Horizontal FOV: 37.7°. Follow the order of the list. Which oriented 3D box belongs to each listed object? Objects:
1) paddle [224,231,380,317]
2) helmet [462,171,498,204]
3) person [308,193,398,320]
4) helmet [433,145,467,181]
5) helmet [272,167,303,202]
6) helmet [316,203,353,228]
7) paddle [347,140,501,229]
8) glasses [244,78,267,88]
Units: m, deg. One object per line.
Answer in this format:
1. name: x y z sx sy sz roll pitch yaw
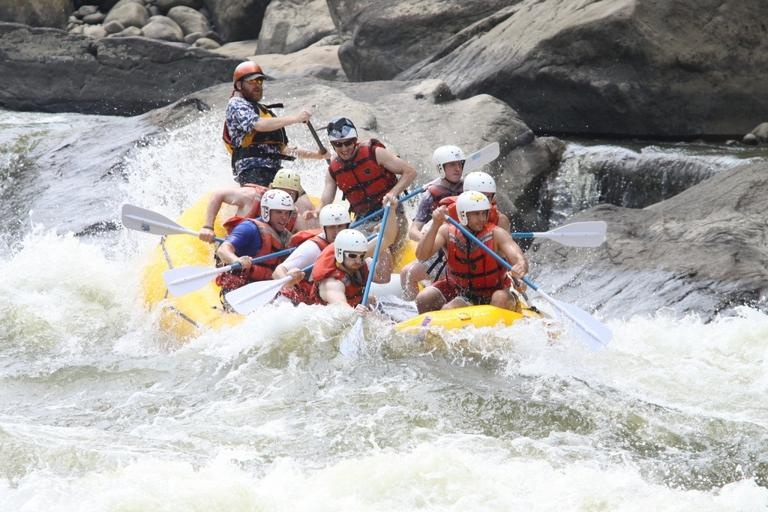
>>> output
1. paddle: -1.000 0.239 13.315 1.986 0.204 0.561 -21 58 -36
2. helmet: 1.270 -0.854 14.034 0.468 0.395 0.357 7 8 35
3. person: -0.375 0.058 13.532 0.906 1.111 1.221 29 34 26
4. helmet: 0.793 -1.248 14.479 0.460 0.307 0.385 6 11 43
5. helmet: -1.222 -0.904 14.419 0.396 0.432 0.438 12 6 -19
6. helmet: -0.626 -0.455 13.633 0.284 0.255 0.348 -4 -21 -21
7. paddle: 0.483 -0.867 14.464 2.907 0.108 0.272 -26 55 7
8. glasses: -1.751 -2.245 14.677 0.147 0.054 0.199 -3 -4 -35
